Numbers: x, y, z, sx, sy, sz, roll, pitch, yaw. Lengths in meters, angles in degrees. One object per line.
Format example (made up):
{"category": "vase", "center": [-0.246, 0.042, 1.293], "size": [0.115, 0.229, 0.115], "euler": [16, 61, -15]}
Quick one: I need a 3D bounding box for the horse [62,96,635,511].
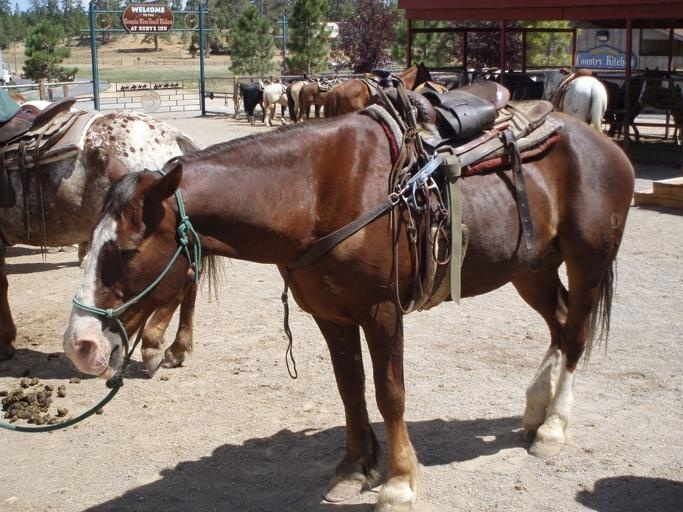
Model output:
{"category": "horse", "center": [0.199, 0.301, 3.939], "size": [3.238, 2.154, 0.819], "euler": [-10, 16, -29]}
